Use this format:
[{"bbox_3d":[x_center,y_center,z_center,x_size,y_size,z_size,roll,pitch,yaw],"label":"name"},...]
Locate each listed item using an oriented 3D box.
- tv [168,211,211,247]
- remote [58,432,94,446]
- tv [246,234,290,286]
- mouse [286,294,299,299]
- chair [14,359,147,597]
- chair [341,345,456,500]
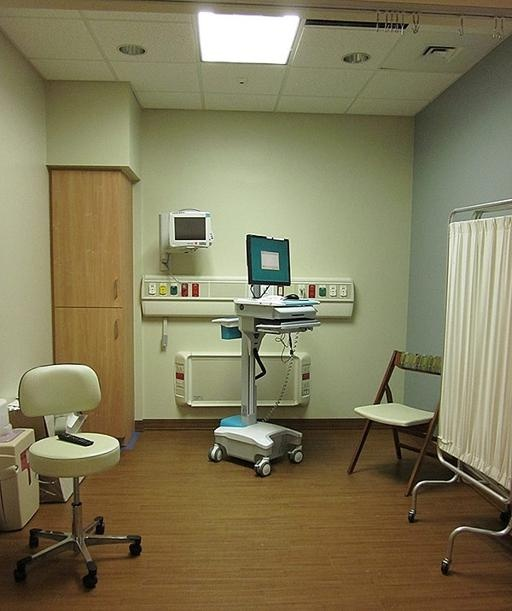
[{"bbox_3d":[-0.492,-0.544,4.341,0.431,0.392,0.254,0,-3,-6],"label":"tv"},{"bbox_3d":[-0.863,0.631,2.577,0.202,0.038,0.066,9,2,38],"label":"remote"},{"bbox_3d":[0.090,-0.311,3.791,0.040,0.284,0.410,-8,-9,37],"label":"tv"},{"bbox_3d":[0.267,-0.057,3.813,0.078,0.029,0.045,2,21,-27],"label":"mouse"},{"bbox_3d":[-0.862,0.758,2.594,0.626,0.891,0.637,1,5,-2],"label":"chair"},{"bbox_3d":[0.970,0.728,3.503,0.535,0.806,0.581,4,3,44],"label":"chair"}]
